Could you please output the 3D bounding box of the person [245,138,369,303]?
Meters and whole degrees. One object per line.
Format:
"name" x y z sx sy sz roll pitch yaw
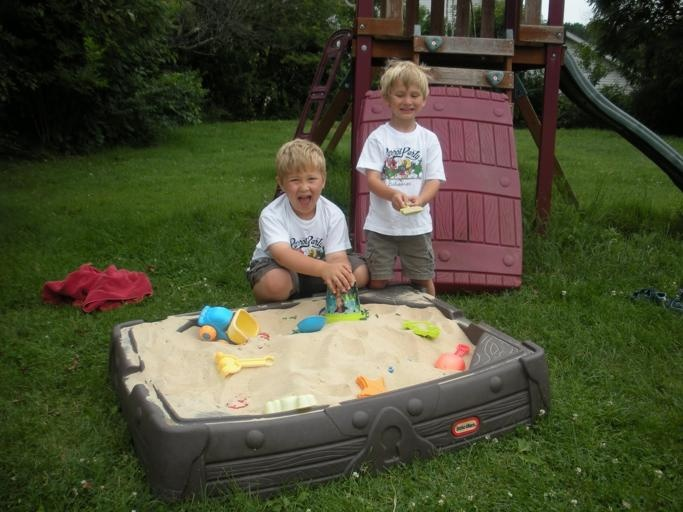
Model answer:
"person" -0.296 -0.189 4.326 0.928 1.185 0.685 6 21 14

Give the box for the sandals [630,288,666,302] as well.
"sandals" 2.524 0.318 4.861 0.254 0.066 0.147 12 25 27
